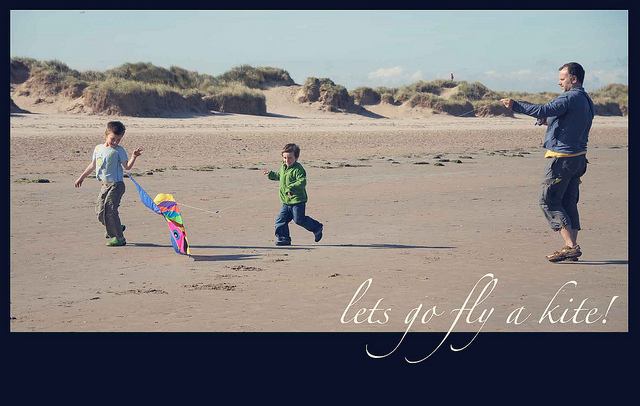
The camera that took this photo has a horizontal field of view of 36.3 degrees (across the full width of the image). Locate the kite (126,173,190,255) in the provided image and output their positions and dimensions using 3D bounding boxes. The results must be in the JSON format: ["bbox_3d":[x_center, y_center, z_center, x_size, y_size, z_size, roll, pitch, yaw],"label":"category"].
[{"bbox_3d":[-3.212,0.220,19.409,0.378,1.825,0.496,-37,-6,42],"label":"kite"}]

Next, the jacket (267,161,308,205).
[{"bbox_3d":[-0.573,-0.387,17.710,0.791,0.754,0.618,15,18,39],"label":"jacket"}]
